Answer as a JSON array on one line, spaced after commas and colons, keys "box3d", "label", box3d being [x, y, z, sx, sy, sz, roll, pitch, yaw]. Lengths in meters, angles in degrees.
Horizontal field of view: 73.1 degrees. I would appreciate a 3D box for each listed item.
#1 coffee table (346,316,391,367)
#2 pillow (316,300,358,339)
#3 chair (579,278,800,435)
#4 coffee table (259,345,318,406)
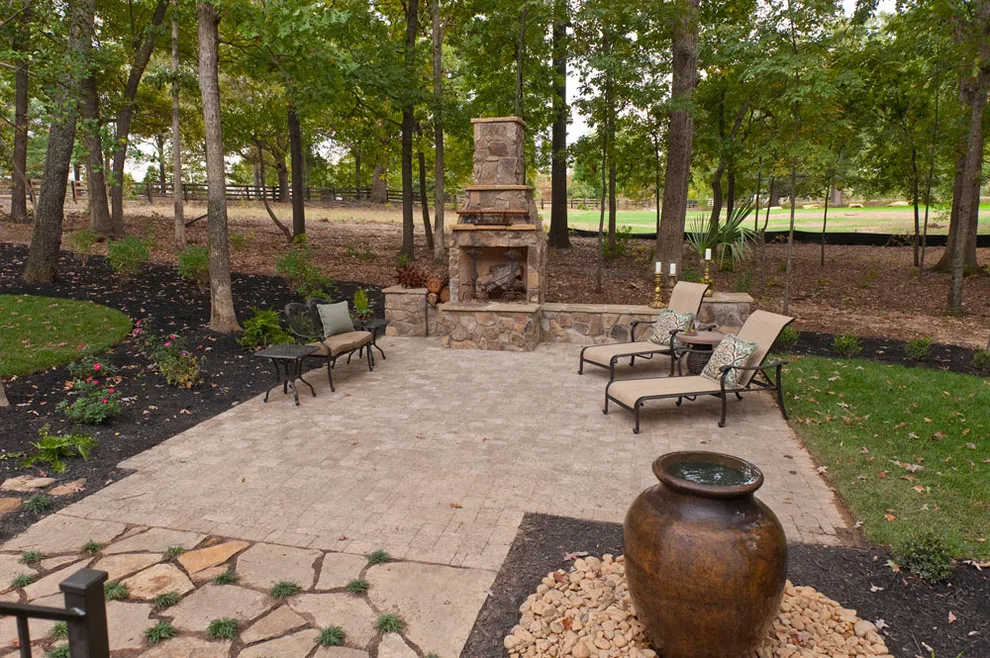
[{"box3d": [-2.416, 0.227, 13.572, 0.980, 0.896, 0.868, 0, 3, 4], "label": "coffee table"}, {"box3d": [-3.017, -0.180, 12.542, 0.340, 0.656, 0.966, -3, 2, 34], "label": "pillow"}, {"box3d": [3.230, 0.528, 10.754, 2.997, 1.537, 1.799, -2, 10, -9], "label": "chair"}, {"box3d": [-3.632, 0.771, 11.461, 1.137, 0.998, 1.086, 0, 4, 4], "label": "coffee table"}]
